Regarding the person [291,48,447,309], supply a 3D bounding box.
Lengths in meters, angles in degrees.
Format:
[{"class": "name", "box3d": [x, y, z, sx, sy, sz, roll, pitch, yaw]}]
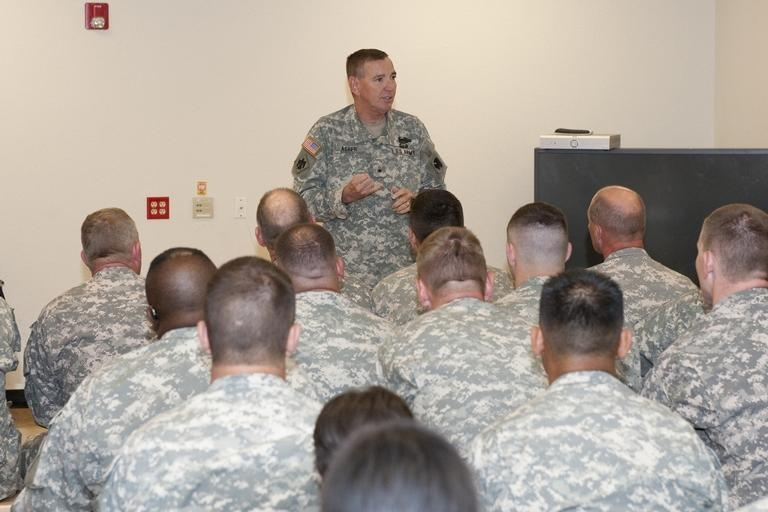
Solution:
[{"class": "person", "box3d": [-0.033, -0.091, 4.434, 0.991, 2.428, 0.810, -4, 17, -4]}]
